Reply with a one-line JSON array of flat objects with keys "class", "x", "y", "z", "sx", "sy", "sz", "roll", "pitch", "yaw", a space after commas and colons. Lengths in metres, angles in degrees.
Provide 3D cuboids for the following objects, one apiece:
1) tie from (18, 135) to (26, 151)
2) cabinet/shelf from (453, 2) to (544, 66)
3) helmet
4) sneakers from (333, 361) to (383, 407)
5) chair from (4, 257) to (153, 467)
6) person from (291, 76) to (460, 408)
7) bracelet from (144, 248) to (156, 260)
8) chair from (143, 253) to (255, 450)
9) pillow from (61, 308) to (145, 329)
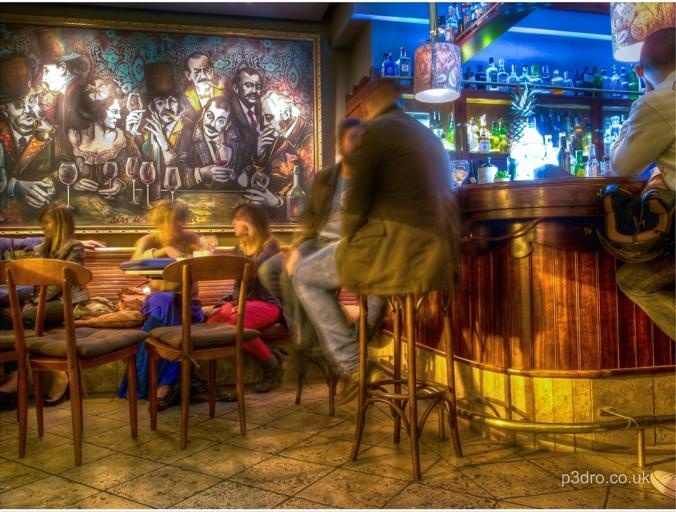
[{"class": "tie", "x": -3.363, "y": -1.200, "z": 6.202, "sx": 0.082, "sy": 0.133, "sz": 0.018, "roll": -2, "pitch": 7, "yaw": -11}, {"class": "cabinet/shelf", "x": 1.205, "y": -1.781, "z": 4.491, "sx": 0.321, "sy": 0.263, "sz": 1.024, "roll": -3, "pitch": 7, "yaw": -19}, {"class": "helmet", "x": 1.650, "y": -0.176, "z": 3.223, "sx": 0.342, "sy": 0.403, "sz": 0.426, "roll": 5, "pitch": 6, "yaw": 39}, {"class": "sneakers", "x": 0.139, "y": 0.824, "z": 3.558, "sx": 0.261, "sy": 0.329, "sz": 0.156, "roll": -2, "pitch": -29, "yaw": 14}, {"class": "chair", "x": -1.735, "y": 0.606, "z": 3.712, "sx": 0.752, "sy": 1.214, "sz": 0.582, "roll": 2, "pitch": 8, "yaw": 21}, {"class": "person", "x": 0.249, "y": -0.111, "z": 3.558, "sx": 0.954, "sy": 1.930, "sz": 0.607, "roll": 2, "pitch": 8, "yaw": 21}, {"class": "bracelet", "x": -1.594, "y": -0.016, "z": 4.926, "sx": 0.137, "sy": 0.067, "sz": 0.090, "roll": -6, "pitch": -6, "yaw": 41}, {"class": "chair", "x": -0.948, "y": 0.585, "z": 3.983, "sx": 0.802, "sy": 1.222, "sz": 0.709, "roll": 5, "pitch": 9, "yaw": 39}, {"class": "pillow", "x": -1.834, "y": 0.500, "z": 4.538, "sx": 0.311, "sy": 0.094, "sz": 0.301, "roll": -3, "pitch": 0, "yaw": 11}]
